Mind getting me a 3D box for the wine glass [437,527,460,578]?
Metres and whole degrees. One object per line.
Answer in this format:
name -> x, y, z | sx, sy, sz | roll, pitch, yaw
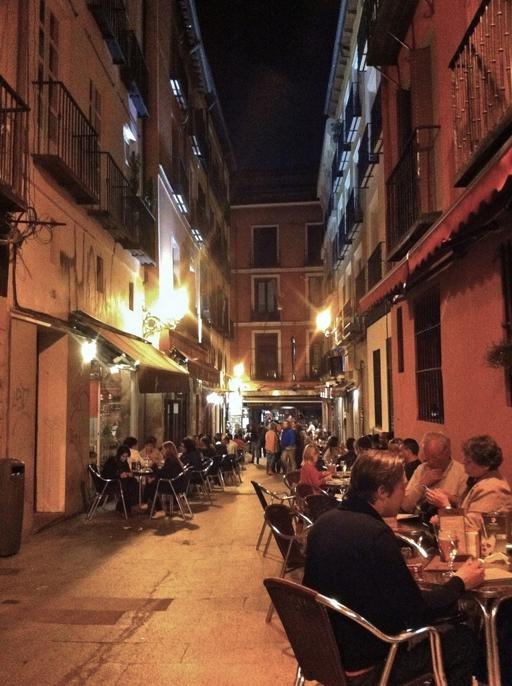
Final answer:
wine glass -> 1.037, 1.118, 3.195 | 0.107, 0.308, 0.137 | 0, 1, 11
